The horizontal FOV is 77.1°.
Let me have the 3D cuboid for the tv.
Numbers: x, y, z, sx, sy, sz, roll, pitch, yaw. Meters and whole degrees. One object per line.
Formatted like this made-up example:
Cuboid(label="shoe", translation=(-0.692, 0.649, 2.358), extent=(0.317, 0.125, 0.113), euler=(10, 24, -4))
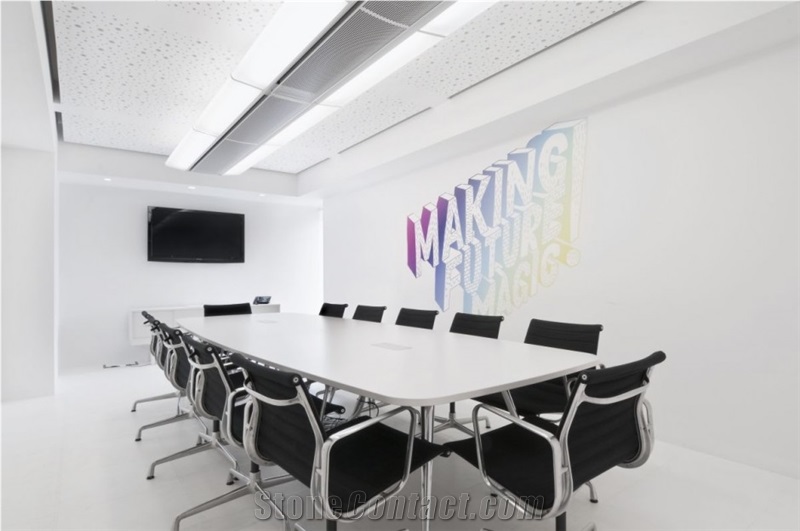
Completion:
Cuboid(label="tv", translation=(-3.602, -0.520, 8.901), extent=(1.610, 0.914, 0.115), euler=(-1, -1, -35))
